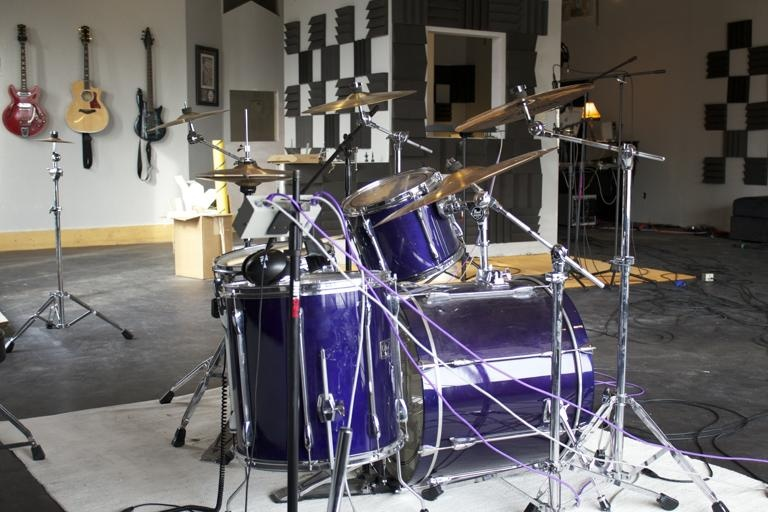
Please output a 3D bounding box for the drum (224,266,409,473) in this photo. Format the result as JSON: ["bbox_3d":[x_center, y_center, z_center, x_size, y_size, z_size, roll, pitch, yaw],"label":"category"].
[{"bbox_3d":[-0.309,0.416,3.075,0.801,0.716,0.776,-7,10,-31],"label":"drum"}]

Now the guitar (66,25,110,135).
[{"bbox_3d":[-3.963,-2.329,9.034,0.226,1.393,0.549,7,13,40],"label":"guitar"}]

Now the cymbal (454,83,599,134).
[{"bbox_3d":[0.684,-0.734,3.572,0.706,0.157,0.686,-13,5,5],"label":"cymbal"}]

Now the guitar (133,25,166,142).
[{"bbox_3d":[-3.265,-2.382,9.470,0.303,1.592,0.414,6,12,34],"label":"guitar"}]

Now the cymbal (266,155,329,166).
[{"bbox_3d":[-0.993,-1.095,7.723,0.653,0.115,0.469,1,8,12],"label":"cymbal"}]

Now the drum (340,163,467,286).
[{"bbox_3d":[0.118,-0.162,3.706,0.629,0.470,0.606,-27,19,10],"label":"drum"}]

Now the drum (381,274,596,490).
[{"bbox_3d":[0.474,0.500,3.328,0.906,0.864,0.854,-6,3,-24],"label":"drum"}]

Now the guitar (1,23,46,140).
[{"bbox_3d":[-4.612,-2.196,8.596,0.491,1.385,0.193,-8,12,-36],"label":"guitar"}]

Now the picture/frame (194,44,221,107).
[{"bbox_3d":[-2.652,-2.676,10.174,0.106,0.882,0.511,3,10,21],"label":"picture/frame"}]

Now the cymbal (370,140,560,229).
[{"bbox_3d":[0.330,-0.345,3.062,0.714,0.123,0.690,-19,8,-17],"label":"cymbal"}]

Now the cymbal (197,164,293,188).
[{"bbox_3d":[-1.013,-0.602,5.063,0.658,0.192,0.491,7,11,42],"label":"cymbal"}]
